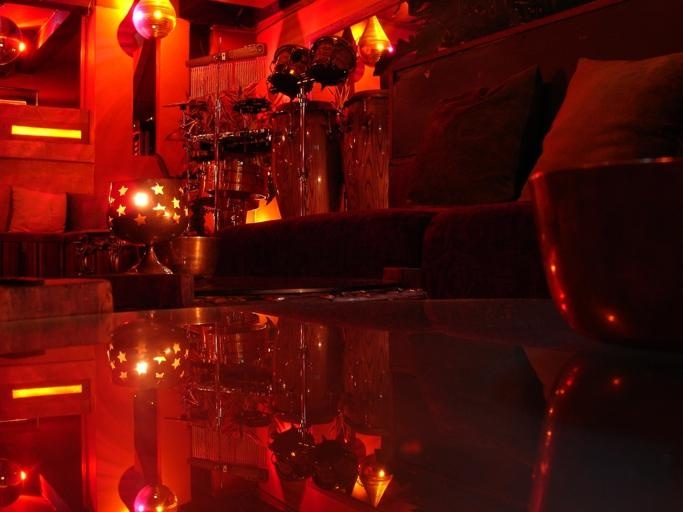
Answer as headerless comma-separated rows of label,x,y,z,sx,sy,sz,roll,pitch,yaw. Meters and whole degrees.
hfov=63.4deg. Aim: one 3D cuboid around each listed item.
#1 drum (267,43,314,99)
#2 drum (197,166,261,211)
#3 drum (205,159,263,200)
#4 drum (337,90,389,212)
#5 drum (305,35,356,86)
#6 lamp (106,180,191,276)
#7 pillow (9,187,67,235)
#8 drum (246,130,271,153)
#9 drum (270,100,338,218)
drum,-0.291,-1.069,3.163,0.259,0.291,0.214,-1,0,6
drum,-0.909,-0.557,4.452,0.402,0.207,0.426,2,-4,0
drum,-0.846,-0.641,4.449,0.512,0.298,0.482,-1,0,0
drum,0.128,-0.593,3.127,0.327,0.609,0.243,-1,0,18
drum,-0.058,-1.098,3.063,0.238,0.248,0.288,-1,0,25
lamp,-0.314,-0.052,0.888,0.127,0.162,0.136,-1,0,-15
pillow,-2.836,-0.408,5.148,0.403,0.424,0.160,6,-19,-23
drum,-0.695,-0.966,4.693,0.195,0.194,0.478,-1,0,-9
drum,-0.193,-0.583,3.296,0.437,0.659,0.371,-1,0,-7
